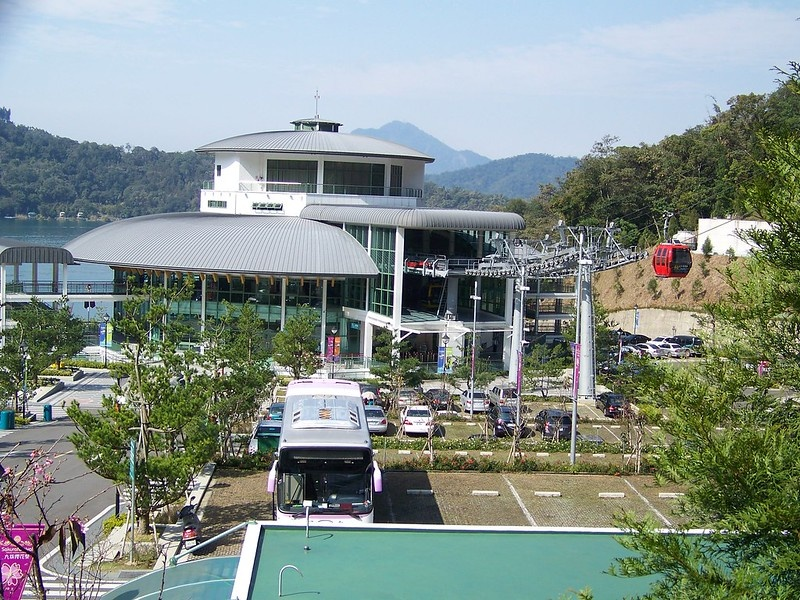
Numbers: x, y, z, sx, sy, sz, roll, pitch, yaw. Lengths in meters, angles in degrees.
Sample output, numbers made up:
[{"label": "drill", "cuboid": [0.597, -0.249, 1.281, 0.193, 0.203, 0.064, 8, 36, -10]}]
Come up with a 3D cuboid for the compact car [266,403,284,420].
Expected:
[{"label": "compact car", "cuboid": [-5.621, 4.983, 41.792, 0.767, 0.614, 1.736, 1, -5, -6]}]

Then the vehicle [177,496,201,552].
[{"label": "vehicle", "cuboid": [-6.686, 7.333, 30.241, 0.792, 1.280, 2.030, -8, -2, -6]}]

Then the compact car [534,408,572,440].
[{"label": "compact car", "cuboid": [6.910, 5.665, 42.503, 0.954, 0.771, 2.184, 0, 4, 2]}]

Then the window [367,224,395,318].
[{"label": "window", "cuboid": [-1.215, -1.893, 59.769, 1.134, 5.664, 3.579, -1, 2, -19]}]

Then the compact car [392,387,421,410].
[{"label": "compact car", "cuboid": [0.241, 4.936, 46.867, 0.845, 0.632, 1.881, 0, 6, -1]}]

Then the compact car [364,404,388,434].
[{"label": "compact car", "cuboid": [-1.108, 5.389, 42.564, 0.849, 0.664, 1.940, 1, 10, -1]}]

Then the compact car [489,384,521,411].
[{"label": "compact car", "cuboid": [5.306, 4.994, 48.265, 0.838, 0.745, 1.493, 0, 10, -7]}]

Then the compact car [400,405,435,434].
[{"label": "compact car", "cuboid": [0.696, 5.511, 42.007, 1.340, 1.193, 2.322, -1, 1, 0]}]

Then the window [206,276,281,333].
[{"label": "window", "cuboid": [-9.292, 0.209, 56.534, 3.340, 2.536, 0.133, 2, 9, 4]}]

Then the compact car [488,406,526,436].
[{"label": "compact car", "cuboid": [4.732, 5.613, 43.135, 0.959, 1.234, 1.854, -1, 1, 1]}]

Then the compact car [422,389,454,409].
[{"label": "compact car", "cuboid": [1.935, 5.105, 47.979, 1.246, 0.961, 2.440, -1, 1, 3]}]

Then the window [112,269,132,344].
[{"label": "window", "cuboid": [-20.235, -0.148, 67.681, 1.049, 4.682, 1.423, -2, -5, -26]}]

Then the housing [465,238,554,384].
[{"label": "housing", "cuboid": [7.091, 0.068, 57.847, 6.356, 7.743, 6.200, -1, 8, 44]}]

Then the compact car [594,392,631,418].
[{"label": "compact car", "cuboid": [10.725, 5.303, 47.849, 0.819, 0.676, 2.023, 0, 7, 4]}]

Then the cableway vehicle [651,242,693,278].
[{"label": "cableway vehicle", "cuboid": [12.613, -1.888, 43.499, 1.402, 1.937, 1.989, 0, 4, 11]}]

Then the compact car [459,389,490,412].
[{"label": "compact car", "cuboid": [3.858, 5.165, 47.481, 1.205, 1.072, 1.695, -1, 1, -6]}]
